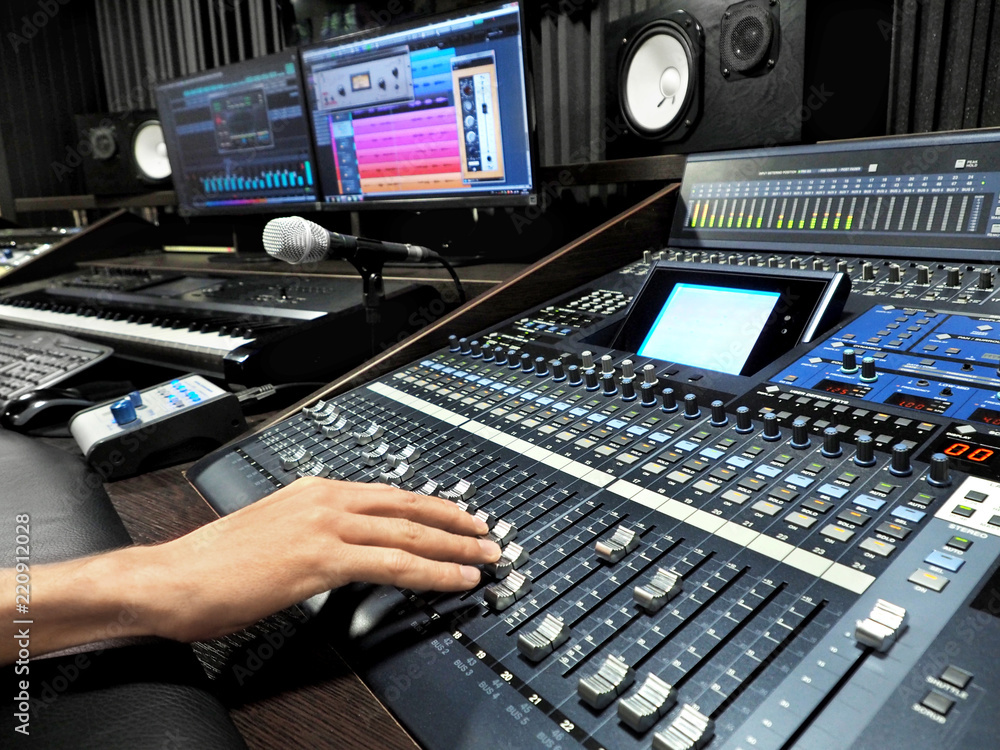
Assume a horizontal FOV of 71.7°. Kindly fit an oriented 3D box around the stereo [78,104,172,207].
[{"bbox_3d":[-1.718,-0.983,3.199,0.566,0.387,0.127,-15,15,-3],"label":"stereo"}]

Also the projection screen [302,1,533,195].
[{"bbox_3d":[-0.233,-0.794,2.044,1.061,0.488,0.046,1,29,34],"label":"projection screen"}]
